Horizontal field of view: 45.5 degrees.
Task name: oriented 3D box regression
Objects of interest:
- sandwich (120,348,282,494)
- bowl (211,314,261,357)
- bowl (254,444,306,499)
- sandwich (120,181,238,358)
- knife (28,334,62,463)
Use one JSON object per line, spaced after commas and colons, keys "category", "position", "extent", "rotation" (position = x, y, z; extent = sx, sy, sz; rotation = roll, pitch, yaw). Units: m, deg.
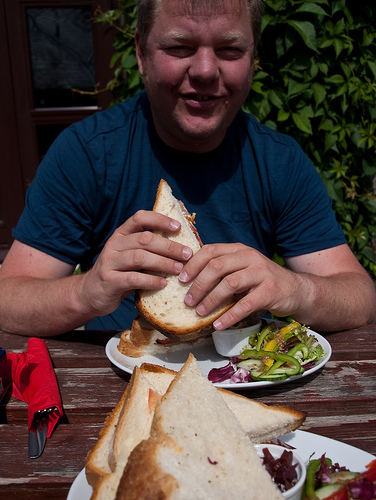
{"category": "sandwich", "position": [0.067, 0.384, 0.972], "extent": [0.275, 0.122, 0.470], "rotation": [2, 11, 14]}
{"category": "bowl", "position": [0.214, 0.357, 1.906], "extent": [0.171, 0.103, 0.161], "rotation": [-10, 7, 1]}
{"category": "bowl", "position": [0.220, 0.486, 1.022], "extent": [0.100, 0.083, 0.100], "rotation": [3, 7, 0]}
{"category": "sandwich", "position": [-0.121, 0.102, 2.014], "extent": [0.497, 0.676, 0.183], "rotation": [-11, -13, -6]}
{"category": "knife", "position": [-0.491, 0.481, 1.519], "extent": [0.096, 0.068, 0.511], "rotation": [-32, 27, -9]}
